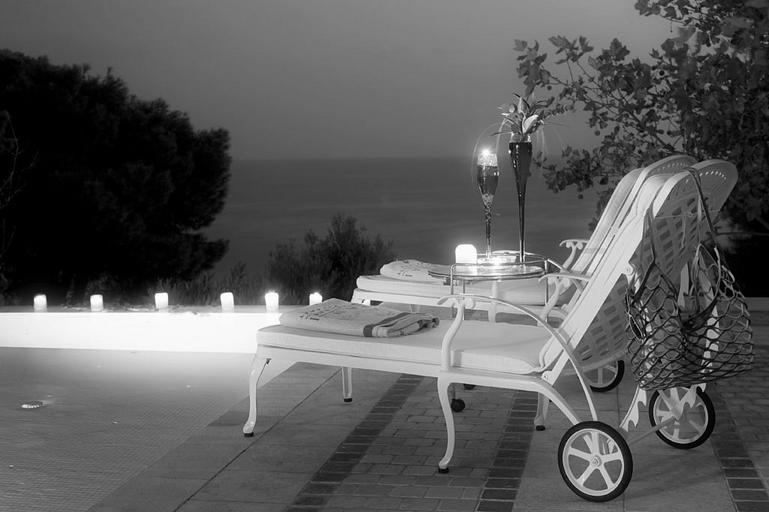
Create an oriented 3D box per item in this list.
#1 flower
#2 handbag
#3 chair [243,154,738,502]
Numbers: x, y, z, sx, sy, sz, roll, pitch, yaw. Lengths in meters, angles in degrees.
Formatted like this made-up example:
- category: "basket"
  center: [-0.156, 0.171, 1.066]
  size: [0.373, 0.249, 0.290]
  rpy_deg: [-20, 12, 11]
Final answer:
- category: "flower"
  center: [0.806, -0.730, 3.675]
  size: [0.289, 0.412, 0.431]
  rpy_deg: [1, 9, 7]
- category: "handbag"
  center: [1.360, 0.120, 2.710]
  size: [0.511, 1.052, 0.763]
  rpy_deg: [2, 10, 25]
- category: "chair"
  center: [0.507, 0.238, 3.582]
  size: [2.743, 1.646, 1.305]
  rpy_deg: [2, 2, 30]
